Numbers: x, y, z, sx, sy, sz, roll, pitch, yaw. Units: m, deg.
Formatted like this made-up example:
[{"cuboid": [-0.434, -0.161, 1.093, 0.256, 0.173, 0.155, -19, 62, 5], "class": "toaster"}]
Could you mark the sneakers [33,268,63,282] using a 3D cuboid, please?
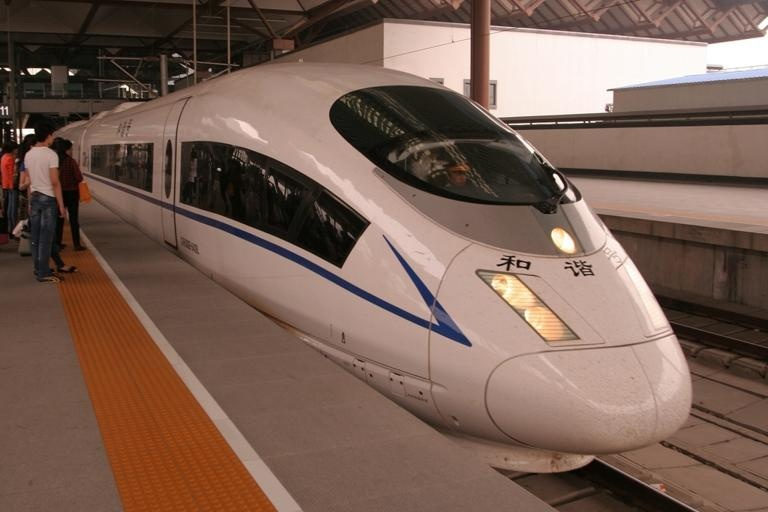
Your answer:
[{"cuboid": [-4.227, 0.211, 6.525, 0.530, 0.215, 0.183, -1, 5, 32], "class": "sneakers"}]

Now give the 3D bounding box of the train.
[{"cuboid": [-1.388, -0.737, 7.561, 2.481, 2.656, 10.291, -7, 14, -27], "class": "train"}]
